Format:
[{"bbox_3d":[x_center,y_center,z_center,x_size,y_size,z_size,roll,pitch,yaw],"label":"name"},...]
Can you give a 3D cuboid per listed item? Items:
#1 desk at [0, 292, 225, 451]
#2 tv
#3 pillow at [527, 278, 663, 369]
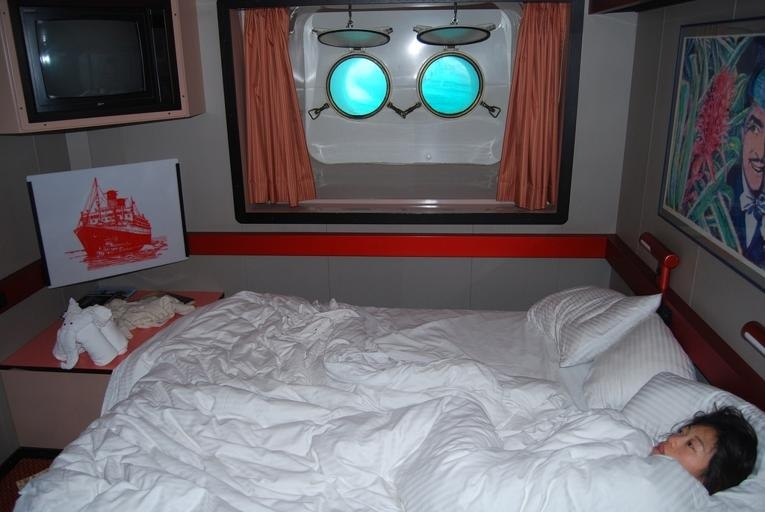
[{"bbox_3d":[-1.875,0.743,3.088,0.644,0.476,0.908,7,28,15],"label":"desk"},{"bbox_3d":[-1.582,-1.076,2.819,0.073,0.533,0.720,16,26,42],"label":"tv"},{"bbox_3d":[1.165,0.357,2.963,0.591,0.150,0.589,-22,41,-27],"label":"pillow"}]
